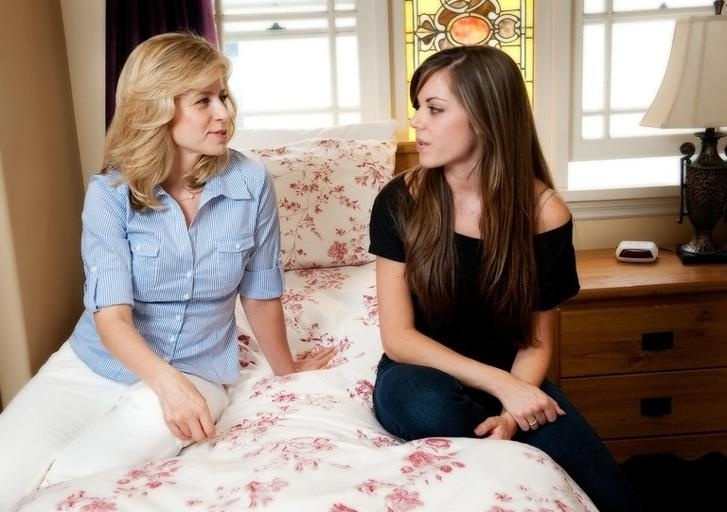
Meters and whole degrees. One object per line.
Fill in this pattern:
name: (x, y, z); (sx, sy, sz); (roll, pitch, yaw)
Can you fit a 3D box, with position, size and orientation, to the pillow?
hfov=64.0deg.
pillow: (-0.158, -0.210, 2.384); (0.588, 0.533, 0.176); (1, -10, -10)
